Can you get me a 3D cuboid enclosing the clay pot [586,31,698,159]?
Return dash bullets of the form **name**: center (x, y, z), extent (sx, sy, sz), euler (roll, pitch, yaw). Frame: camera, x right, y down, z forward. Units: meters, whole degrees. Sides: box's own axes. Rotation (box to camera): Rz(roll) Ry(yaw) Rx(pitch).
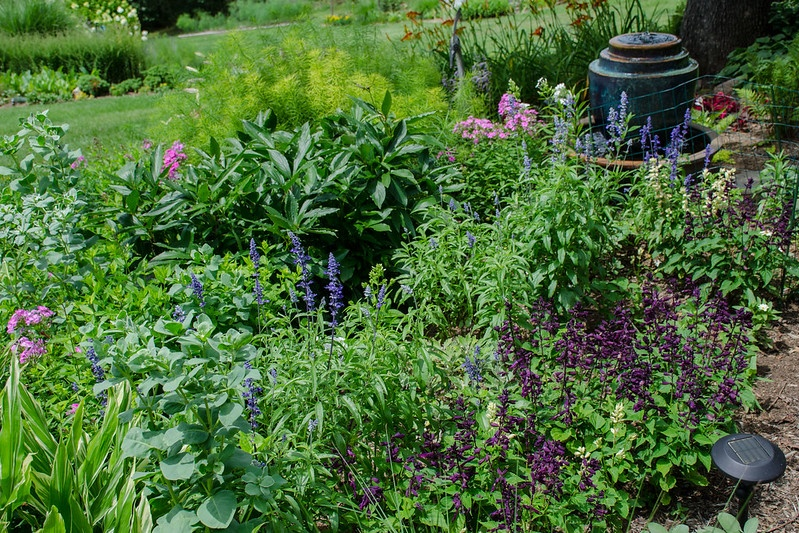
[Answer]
- **clay pot**: center (2.235, -1.660, 7.870), extent (1.091, 1.383, 1.158), euler (-4, 23, 2)
